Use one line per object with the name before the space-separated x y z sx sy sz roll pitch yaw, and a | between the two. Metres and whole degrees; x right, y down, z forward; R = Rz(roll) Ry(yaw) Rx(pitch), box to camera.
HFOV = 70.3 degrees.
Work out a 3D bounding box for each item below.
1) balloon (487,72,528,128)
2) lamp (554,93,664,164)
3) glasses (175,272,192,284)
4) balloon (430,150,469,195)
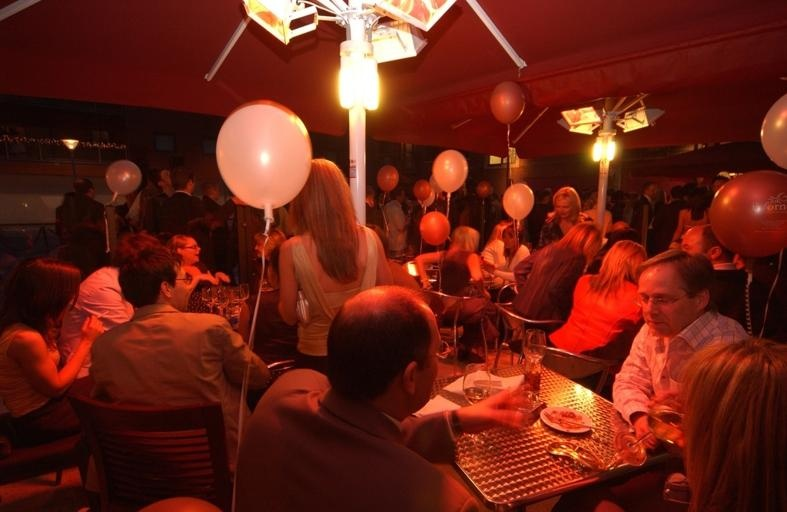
balloon | 0.950 -1.278 4.684 0.318 0.413 0.337 -1 4 24
lamp | 2.145 -1.307 5.482 0.636 0.582 0.596 1 -1 -21
glasses | -1.595 0.165 4.276 0.137 0.043 0.137 -3 5 0
balloon | 0.647 -0.993 6.464 0.446 0.534 0.456 1 2 -22
